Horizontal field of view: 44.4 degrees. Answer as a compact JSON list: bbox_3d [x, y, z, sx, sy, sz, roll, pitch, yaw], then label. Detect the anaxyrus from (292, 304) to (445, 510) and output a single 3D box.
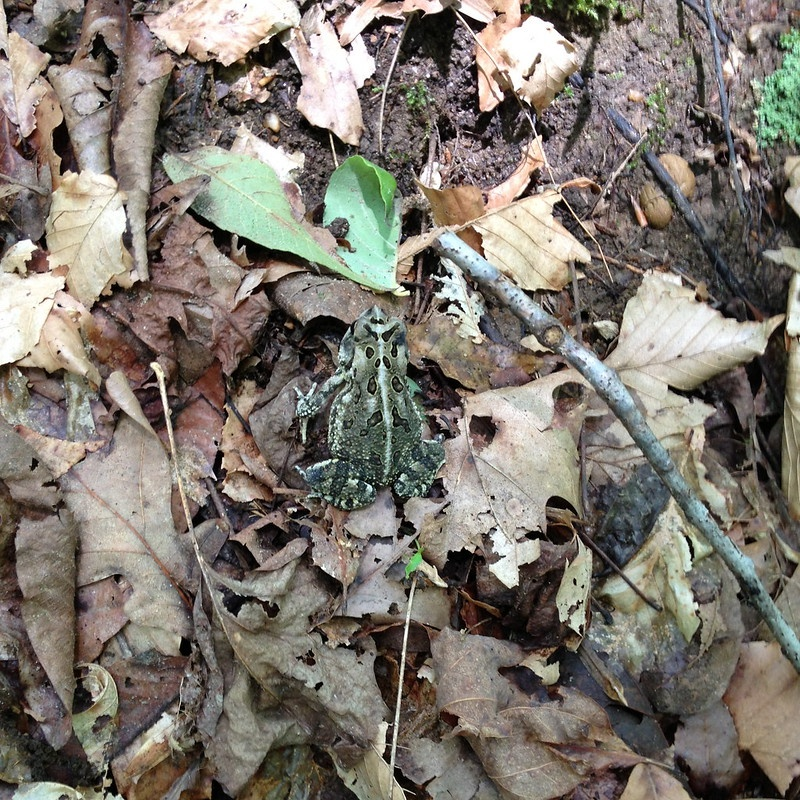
[{"bbox_3d":[-0.186,0.090,4.479,0.668,0.449,0.750,-24,59,-5],"label":"anaxyrus"}]
